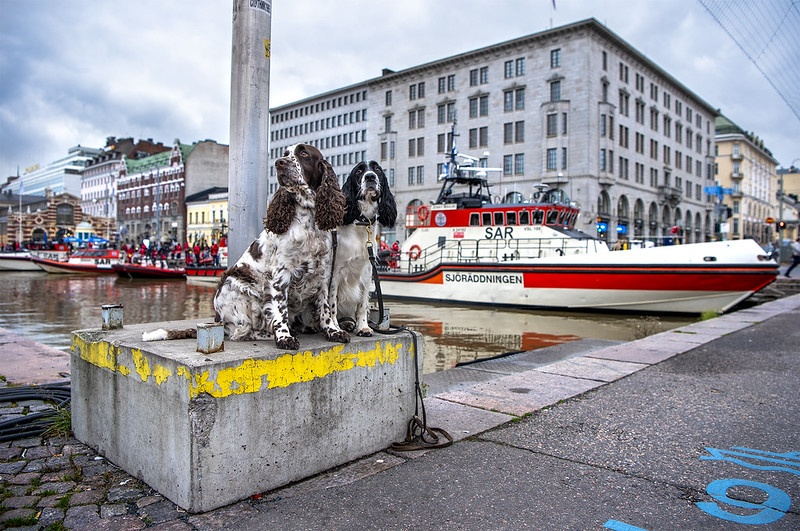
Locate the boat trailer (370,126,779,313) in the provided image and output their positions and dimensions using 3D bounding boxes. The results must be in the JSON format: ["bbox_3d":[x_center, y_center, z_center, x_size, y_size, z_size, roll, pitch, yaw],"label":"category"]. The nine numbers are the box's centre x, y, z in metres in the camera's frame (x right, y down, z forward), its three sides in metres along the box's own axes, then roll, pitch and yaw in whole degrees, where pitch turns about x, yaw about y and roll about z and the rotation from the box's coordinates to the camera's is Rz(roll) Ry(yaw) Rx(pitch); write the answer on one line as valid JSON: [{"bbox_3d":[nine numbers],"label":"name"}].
[{"bbox_3d":[4.770,-1.462,24.706,18.150,8.683,5.794,3,5,37],"label":"boat trailer"}]

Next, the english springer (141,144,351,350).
[{"bbox_3d":[-1.111,-0.119,6.586,1.875,2.355,2.119,3,5,35],"label":"english springer"}]

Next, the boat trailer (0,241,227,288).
[{"bbox_3d":[-19.578,-0.078,41.484,12.901,2.176,2.747,4,-7,12],"label":"boat trailer"}]

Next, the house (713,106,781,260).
[{"bbox_3d":[46.070,-10.486,84.378,8.336,17.742,22.197,-1,0,41],"label":"house"}]

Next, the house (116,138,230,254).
[{"bbox_3d":[-31.462,-9.056,83.628,18.792,12.923,7.589,0,0,41],"label":"house"}]
